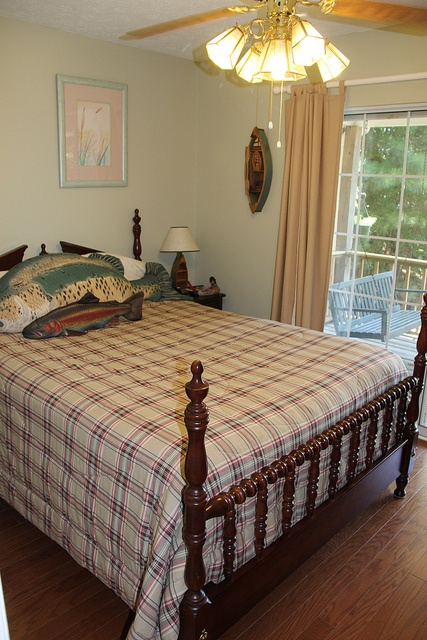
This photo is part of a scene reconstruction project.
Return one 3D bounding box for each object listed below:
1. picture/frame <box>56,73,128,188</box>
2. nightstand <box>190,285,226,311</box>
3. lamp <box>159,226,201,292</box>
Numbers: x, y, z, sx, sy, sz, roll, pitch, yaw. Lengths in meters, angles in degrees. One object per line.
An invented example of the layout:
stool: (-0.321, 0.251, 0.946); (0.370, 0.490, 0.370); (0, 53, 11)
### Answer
picture/frame: (-0.949, -1.469, 3.546); (0.063, 0.963, 0.807); (17, 22, 36)
nightstand: (-0.057, -0.209, 4.203); (0.225, 0.298, 0.299); (-18, 27, -41)
lamp: (-0.295, -0.545, 4.165); (0.325, 0.576, 0.334); (2, 10, 16)
